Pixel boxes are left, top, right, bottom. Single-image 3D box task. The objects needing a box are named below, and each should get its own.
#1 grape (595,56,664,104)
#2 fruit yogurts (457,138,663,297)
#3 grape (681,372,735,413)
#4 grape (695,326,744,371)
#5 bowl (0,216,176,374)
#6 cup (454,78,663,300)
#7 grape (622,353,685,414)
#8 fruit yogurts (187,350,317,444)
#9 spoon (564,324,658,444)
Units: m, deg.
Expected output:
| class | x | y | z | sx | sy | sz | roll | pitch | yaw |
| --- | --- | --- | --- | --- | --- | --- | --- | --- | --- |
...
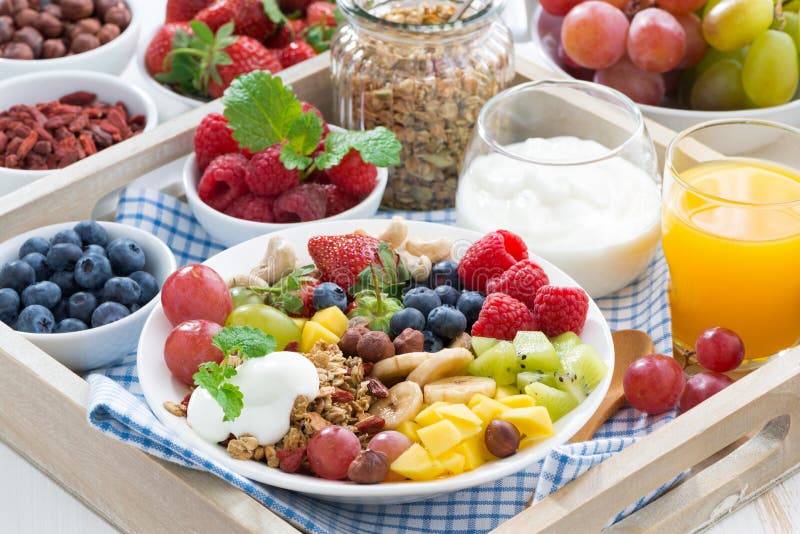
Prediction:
| class | x | y | z | sx | sy | sz | roll | pitch | yaw |
| --- | --- | --- | --- | --- | --- | --- | --- | --- | --- |
| grape | 0.508 | -0.398 | 1.688 | 0.117 | 0.091 | 0.093 | 21 | 82 | 5 |
| fruit yogurts | 0.310 | -0.097 | 1.420 | 0.284 | 0.127 | 0.298 | -2 | 43 | -2 |
| grape | 0.484 | 0.193 | 1.222 | 0.081 | 0.063 | 0.066 | -7 | 92 | 7 |
| grape | 0.526 | 0.135 | 1.249 | 0.072 | 0.074 | 0.069 | 2 | 16 | 8 |
| bowl | -0.507 | 0.073 | 1.285 | 0.265 | 0.125 | 0.278 | 4 | 37 | -3 |
| cup | 0.304 | -0.112 | 1.549 | 0.395 | 0.331 | 0.411 | -4 | 50 | 4 |
| grape | 0.404 | 0.182 | 1.249 | 0.087 | 0.094 | 0.097 | -14 | 85 | -18 |
| fruit yogurts | -0.205 | 0.187 | 1.061 | 0.189 | 0.085 | 0.100 | -10 | 51 | -12 |
| spoon | 0.389 | 0.167 | 1.342 | 0.074 | 0.051 | 0.348 | 24 | 55 | 22 |
